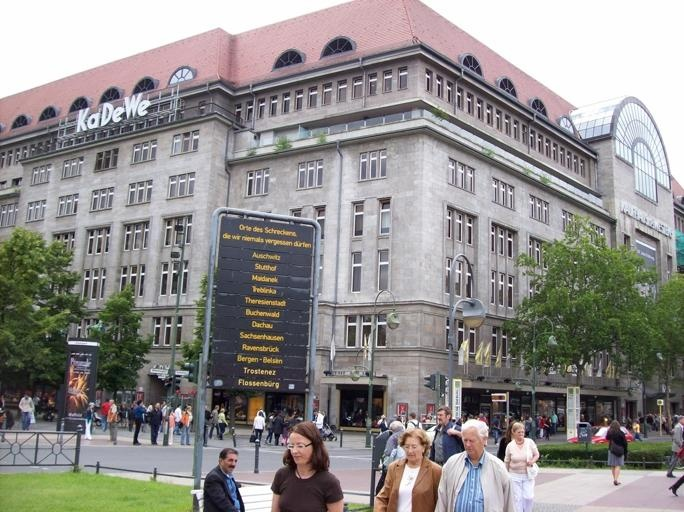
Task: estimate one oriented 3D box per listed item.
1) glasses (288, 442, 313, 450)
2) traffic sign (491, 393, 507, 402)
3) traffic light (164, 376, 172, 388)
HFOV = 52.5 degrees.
[{"bbox_3d":[-0.559,2.559,9.290,0.329,0.108,0.165,-1,-17,10],"label":"glasses"},{"bbox_3d":[12.899,11.442,55.887,1.052,0.471,1.031,0,-1,-19],"label":"traffic sign"},{"bbox_3d":[-10.517,7.669,41.954,0.337,0.513,2.073,7,-17,-17],"label":"traffic light"}]
